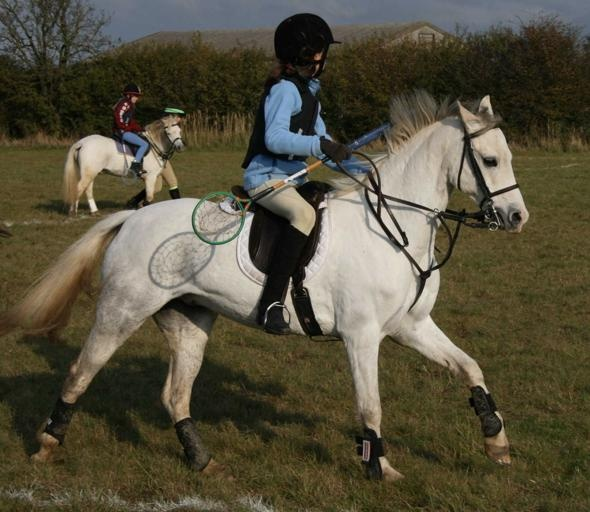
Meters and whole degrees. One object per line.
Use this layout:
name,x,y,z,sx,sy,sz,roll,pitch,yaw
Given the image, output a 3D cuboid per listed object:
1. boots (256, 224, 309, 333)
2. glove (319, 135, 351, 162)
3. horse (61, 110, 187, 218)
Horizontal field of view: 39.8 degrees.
boots,-0.135,0.184,7.100,0.344,0.902,0.391,9,17,27
glove,0.354,-0.918,6.981,0.261,0.193,0.258,4,16,9
horse,-3.279,-1.717,15.580,2.510,1.850,0.715,-5,6,-35
